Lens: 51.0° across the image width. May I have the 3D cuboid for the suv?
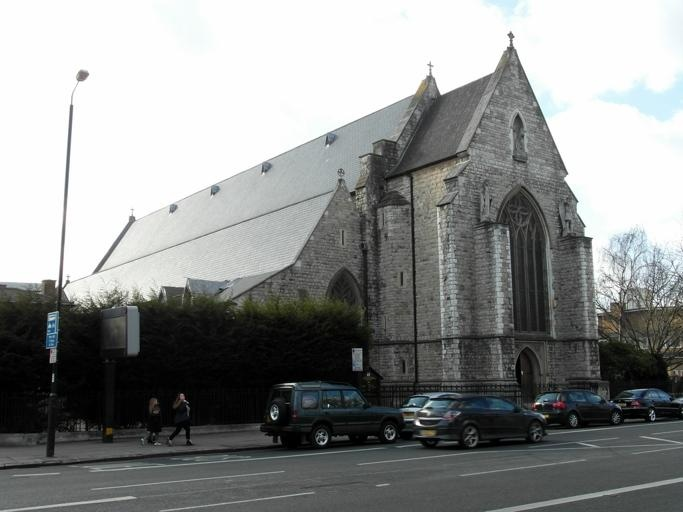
[{"bbox_3d":[-0.402,5.467,25.262,4.475,1.937,2.133,3,-10,-33],"label":"suv"}]

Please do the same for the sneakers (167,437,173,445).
[{"bbox_3d":[-6.136,6.614,25.480,0.159,0.120,0.306,7,-27,0],"label":"sneakers"}]

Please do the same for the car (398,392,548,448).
[{"bbox_3d":[4.592,5.400,23.532,4.112,1.676,0.886,1,-14,-15],"label":"car"}]

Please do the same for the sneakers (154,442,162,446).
[{"bbox_3d":[-6.587,6.662,25.452,0.234,0.096,0.122,-1,-12,-13],"label":"sneakers"}]
